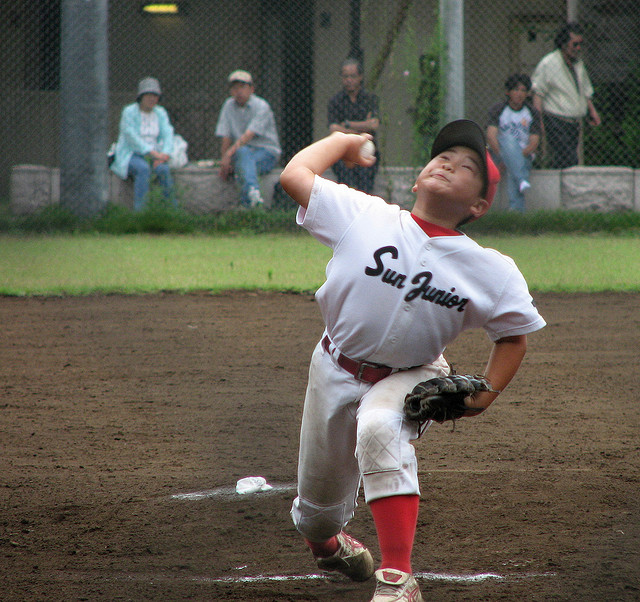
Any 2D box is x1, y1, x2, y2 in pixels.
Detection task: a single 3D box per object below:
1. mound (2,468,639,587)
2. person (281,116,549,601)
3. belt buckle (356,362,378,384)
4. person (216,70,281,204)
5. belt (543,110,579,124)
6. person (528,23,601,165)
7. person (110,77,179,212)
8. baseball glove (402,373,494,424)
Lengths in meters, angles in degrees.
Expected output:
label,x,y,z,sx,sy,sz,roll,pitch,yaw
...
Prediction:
label,x,y,z,sx,sy,sz,roll,pitch,yaw
mound,0.060,1.104,7.667,3.114,0.427,0.771,2,9,-2
person,0.348,0.234,7.326,0.844,2.215,0.919,-6,13,-41
belt buckle,0.202,0.327,7.207,0.110,0.106,0.073,16,8,0
person,-0.601,-1.354,12.604,0.516,1.055,0.335,2,10,-3
belt,2.065,-1.590,13.273,0.154,0.034,0.149,19,-6,-18
person,2.033,-1.791,13.236,0.546,1.202,0.281,3,10,3
person,-1.415,-1.275,12.331,0.542,1.039,0.537,1,10,-9
baseball glove,0.582,0.448,7.152,0.369,0.126,0.202,-7,-9,-36
